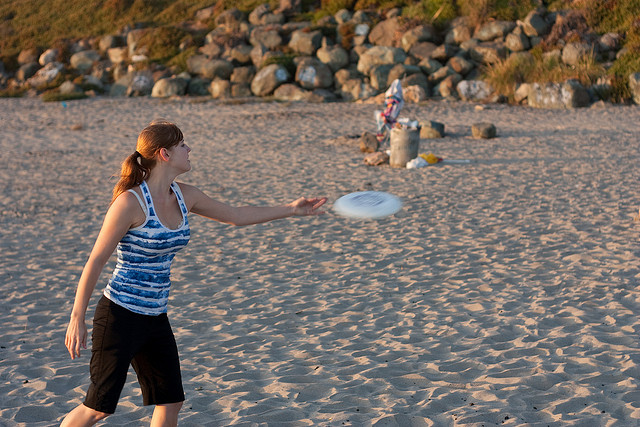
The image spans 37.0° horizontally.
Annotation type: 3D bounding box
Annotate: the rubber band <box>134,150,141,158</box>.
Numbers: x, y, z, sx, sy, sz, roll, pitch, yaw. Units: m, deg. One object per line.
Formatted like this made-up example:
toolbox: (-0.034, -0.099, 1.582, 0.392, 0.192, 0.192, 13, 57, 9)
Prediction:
rubber band: (-3.405, -1.079, 17.825, 0.120, 0.087, 0.030, 3, -29, -23)

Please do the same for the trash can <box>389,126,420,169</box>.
trash can: (2.346, -1.788, 26.782, 0.828, 1.090, 0.478, -1, 13, 3)
